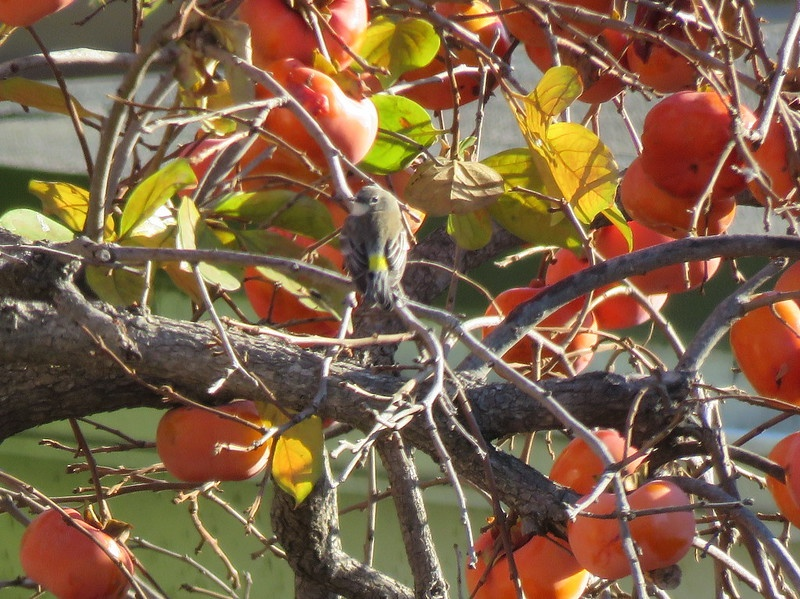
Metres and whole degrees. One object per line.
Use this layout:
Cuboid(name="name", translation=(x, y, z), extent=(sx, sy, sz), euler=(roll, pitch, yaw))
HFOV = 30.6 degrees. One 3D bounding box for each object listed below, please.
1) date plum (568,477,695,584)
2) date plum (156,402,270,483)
Cuboid(name="date plum", translation=(0.388, 0.359, 2.375), extent=(0.204, 0.180, 0.160), euler=(10, -46, 0))
Cuboid(name="date plum", translation=(-0.323, 0.273, 2.592), extent=(0.194, 0.133, 0.170), euler=(-2, -48, 11))
